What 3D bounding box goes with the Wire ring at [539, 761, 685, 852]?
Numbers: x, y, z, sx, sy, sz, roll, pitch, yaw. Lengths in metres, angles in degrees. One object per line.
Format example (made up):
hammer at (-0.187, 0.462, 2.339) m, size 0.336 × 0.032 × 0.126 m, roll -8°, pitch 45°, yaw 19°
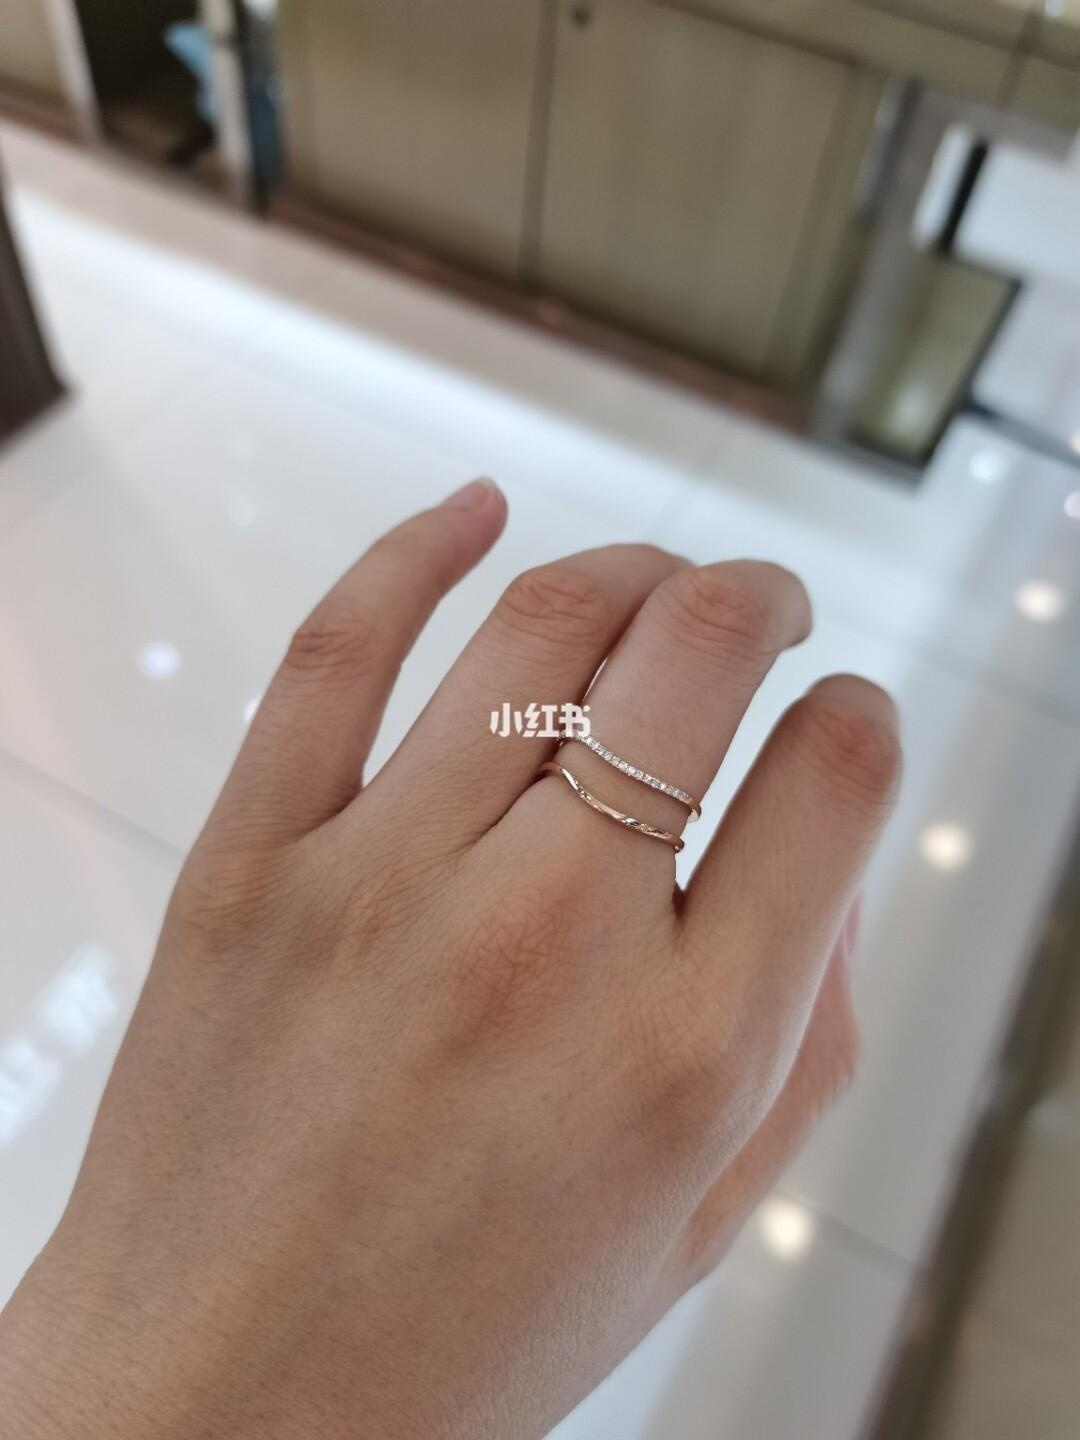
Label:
Wire ring at (0.026, 0.034, 0.420) m, size 0.060 × 0.012 × 0.014 m, roll 26°, pitch 53°, yaw 12°
